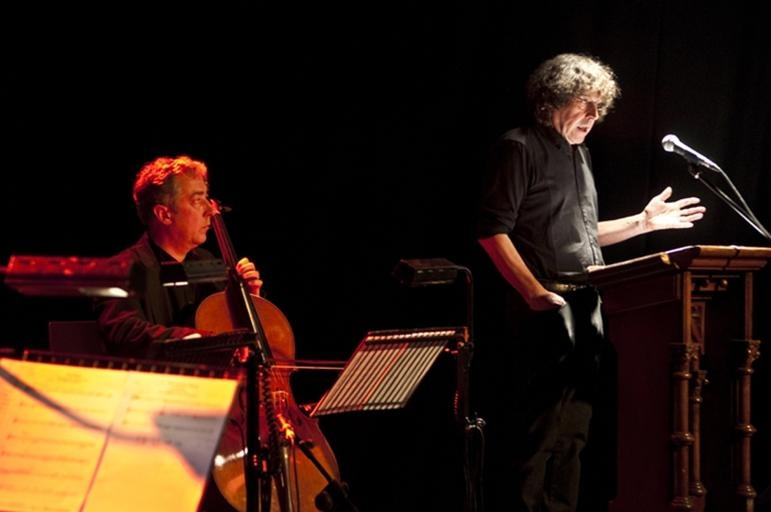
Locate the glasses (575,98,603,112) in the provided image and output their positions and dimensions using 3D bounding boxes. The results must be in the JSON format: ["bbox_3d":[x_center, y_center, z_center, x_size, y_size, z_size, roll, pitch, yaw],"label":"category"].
[{"bbox_3d":[1.135,-0.850,4.394,0.103,0.039,0.078,29,9,12],"label":"glasses"}]
